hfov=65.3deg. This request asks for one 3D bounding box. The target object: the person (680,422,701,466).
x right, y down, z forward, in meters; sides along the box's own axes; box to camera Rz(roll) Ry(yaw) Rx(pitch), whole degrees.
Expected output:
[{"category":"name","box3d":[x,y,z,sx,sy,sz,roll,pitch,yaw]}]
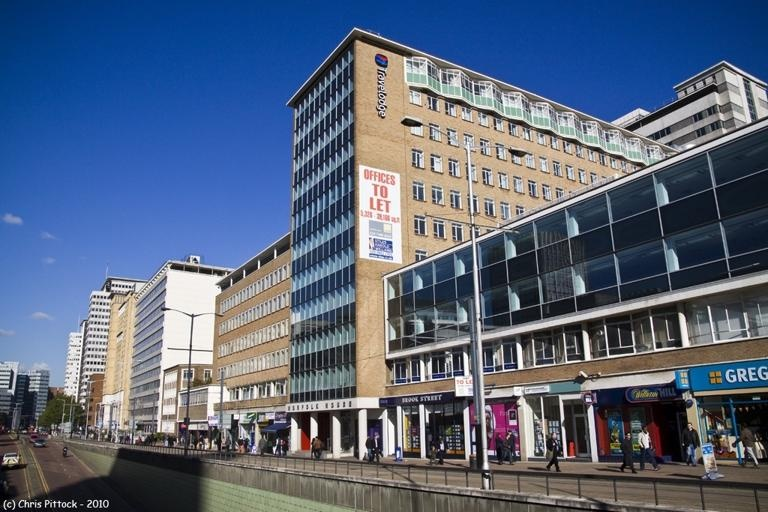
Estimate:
[{"category":"person","box3d":[18.765,11.393,36.519,0.879,2.459,1.564,-10,-23,18]}]

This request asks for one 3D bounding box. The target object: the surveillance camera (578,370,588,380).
[{"category":"surveillance camera","box3d":[14.069,8.376,42.328,0.813,0.295,0.334,45,-18,-8]}]
